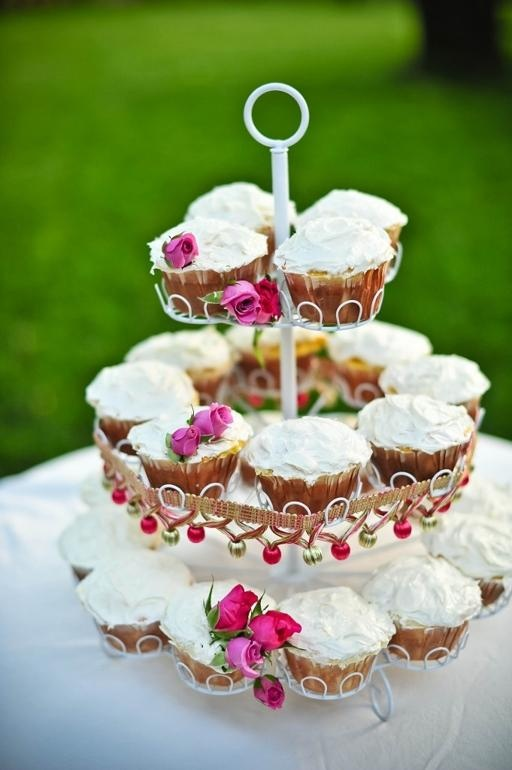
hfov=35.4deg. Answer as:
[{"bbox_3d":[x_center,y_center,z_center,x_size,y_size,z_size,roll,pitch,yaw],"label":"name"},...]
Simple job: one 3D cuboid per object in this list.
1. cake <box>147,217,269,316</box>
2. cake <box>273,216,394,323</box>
[{"bbox_3d":[-0.119,-0.286,2.013,0.284,0.158,0.255,14,53,13],"label":"cake"},{"bbox_3d":[0.182,-0.266,1.990,0.294,0.208,0.269,-7,26,-7],"label":"cake"}]
